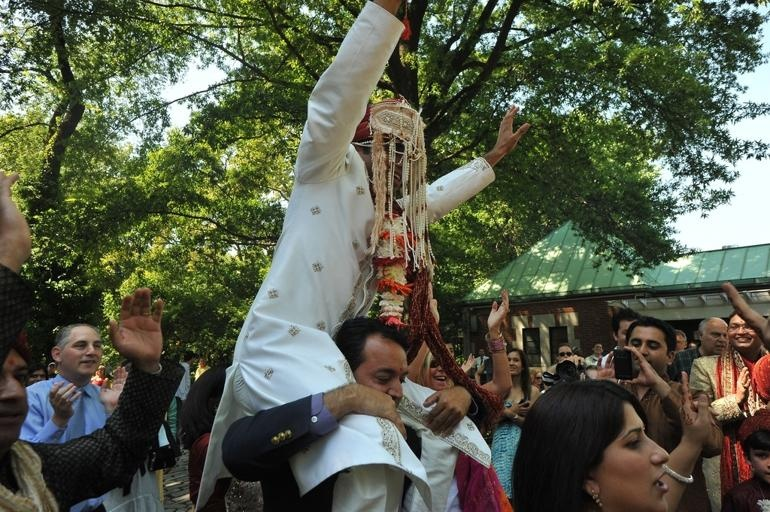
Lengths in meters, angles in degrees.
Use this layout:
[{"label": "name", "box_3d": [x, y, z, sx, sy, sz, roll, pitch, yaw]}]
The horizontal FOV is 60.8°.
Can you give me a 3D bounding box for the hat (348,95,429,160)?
[{"label": "hat", "box_3d": [0.045, -1.020, 5.306, 0.546, 0.428, 0.432, -1, -1, -4]}]
